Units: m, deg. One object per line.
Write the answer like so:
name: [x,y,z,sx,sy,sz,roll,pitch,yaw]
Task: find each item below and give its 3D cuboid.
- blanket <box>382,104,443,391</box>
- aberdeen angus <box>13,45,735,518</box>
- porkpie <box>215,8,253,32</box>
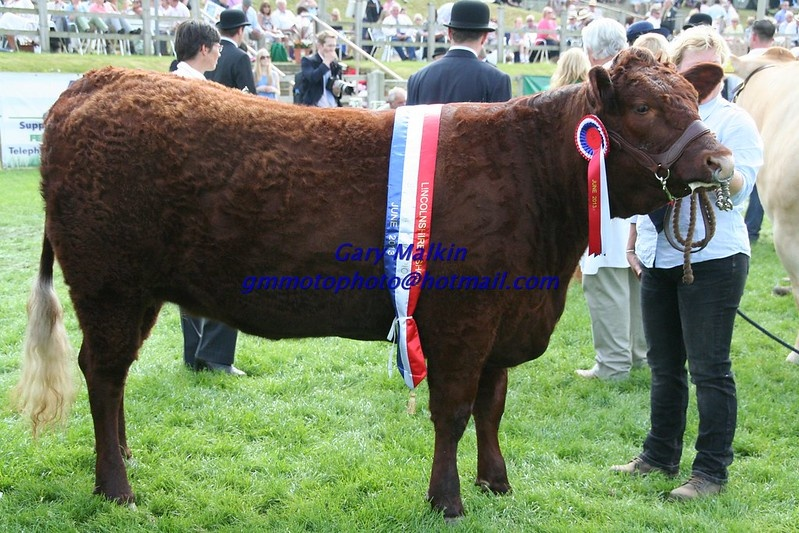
blanket: [0.069,-0.164,7.605,0.365,2.017,0.657,4,15,2]
aberdeen angus: [-0.103,0.264,8.049,4.080,2.611,1.194,1,2,1]
porkpie: [-1.714,-2.511,10.345,0.270,0.230,0.394,0,15,-13]
